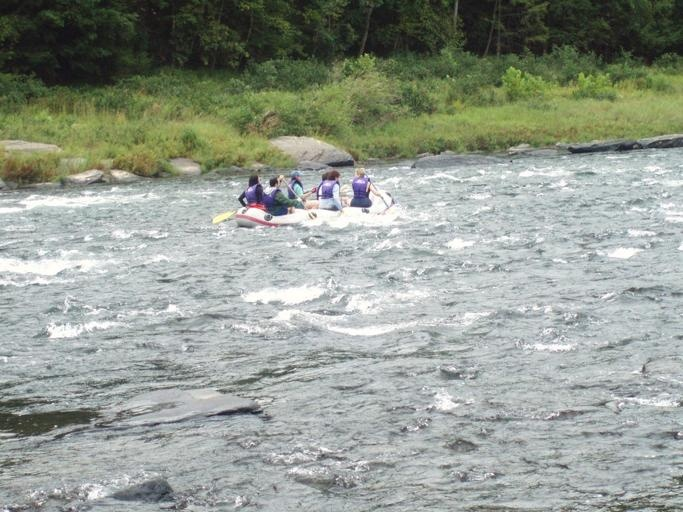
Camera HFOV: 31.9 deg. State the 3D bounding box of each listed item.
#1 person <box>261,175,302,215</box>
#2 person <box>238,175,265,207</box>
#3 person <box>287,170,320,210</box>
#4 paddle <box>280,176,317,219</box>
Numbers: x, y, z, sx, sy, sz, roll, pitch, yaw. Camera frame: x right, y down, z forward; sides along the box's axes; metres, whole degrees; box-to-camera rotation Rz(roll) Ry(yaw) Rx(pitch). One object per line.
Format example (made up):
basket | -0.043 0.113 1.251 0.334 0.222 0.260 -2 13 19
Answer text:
person | -1.900 -1.873 36.828 0.967 1.224 0.455 0 11 -2
person | -2.764 -2.035 37.057 0.669 1.033 0.901 -3 11 -17
person | -1.252 -2.195 40.033 1.154 1.654 0.879 -21 60 -11
paddle | -1.167 -1.898 38.139 1.229 1.543 0.907 -11 15 -26
